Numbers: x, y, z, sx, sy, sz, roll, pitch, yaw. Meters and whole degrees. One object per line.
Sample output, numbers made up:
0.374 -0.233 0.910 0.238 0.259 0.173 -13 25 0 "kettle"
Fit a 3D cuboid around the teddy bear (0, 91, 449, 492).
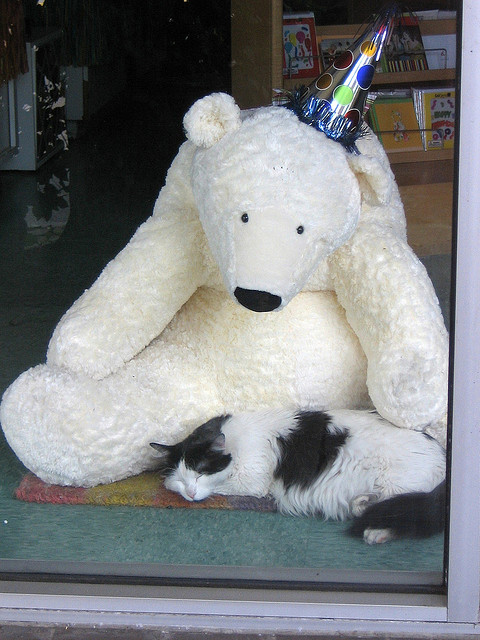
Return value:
-0.027 -0.048 1.269 0.800 0.699 0.415 4 27 15 "teddy bear"
